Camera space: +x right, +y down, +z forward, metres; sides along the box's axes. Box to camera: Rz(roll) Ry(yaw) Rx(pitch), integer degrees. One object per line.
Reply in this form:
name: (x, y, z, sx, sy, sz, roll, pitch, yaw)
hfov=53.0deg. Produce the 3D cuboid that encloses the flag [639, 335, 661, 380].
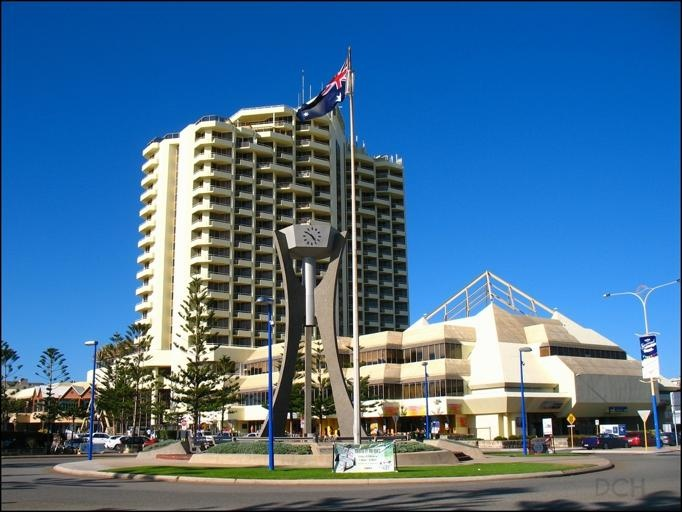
flag: (25.034, 8.045, 55.492, 1.273, 3.463, 9.810, -10, -17, 22)

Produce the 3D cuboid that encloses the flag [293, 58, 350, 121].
flag: (-1.156, -9.876, 41.076, 4.589, 3.145, 0.370, 1, 7, 42)
